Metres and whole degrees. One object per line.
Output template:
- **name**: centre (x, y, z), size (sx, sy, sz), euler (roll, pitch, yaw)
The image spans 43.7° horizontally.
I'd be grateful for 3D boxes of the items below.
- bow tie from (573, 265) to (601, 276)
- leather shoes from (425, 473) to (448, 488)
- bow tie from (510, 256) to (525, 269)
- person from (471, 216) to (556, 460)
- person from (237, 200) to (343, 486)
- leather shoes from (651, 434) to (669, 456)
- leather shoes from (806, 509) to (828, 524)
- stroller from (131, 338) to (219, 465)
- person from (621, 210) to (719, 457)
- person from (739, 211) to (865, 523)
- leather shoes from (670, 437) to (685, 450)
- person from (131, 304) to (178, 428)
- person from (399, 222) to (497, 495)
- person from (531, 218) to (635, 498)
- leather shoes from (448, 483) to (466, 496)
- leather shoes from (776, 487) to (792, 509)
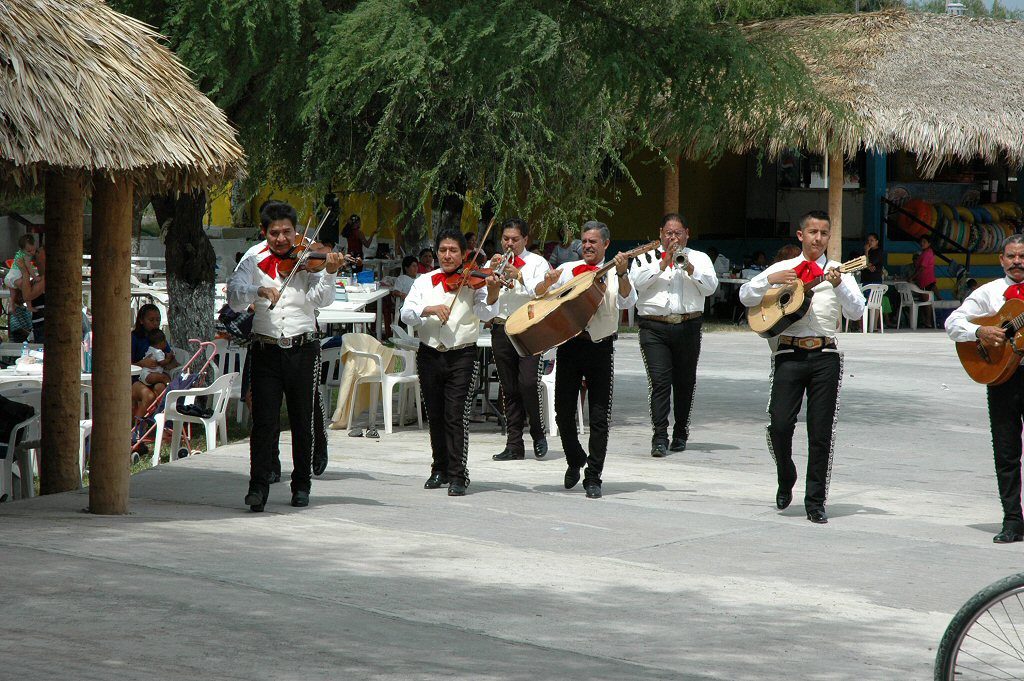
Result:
- **bow tie**: centre (0.623, -0.632, 11.465), size (0.137, 0.055, 0.134), euler (-13, 15, -43)
- **leather shoes**: centre (-0.673, 1.232, 11.164), size (0.195, 0.172, 0.095), euler (6, 5, -5)
- **bow tie**: centre (0.052, -0.754, 12.525), size (0.048, 0.129, 0.136), euler (5, -17, 45)
- **person**: centre (0.004, 0.030, 12.559), size (0.795, 2.106, 0.767), euler (1, -2, -1)
- **person**: centre (-1.664, 0.133, 10.035), size (1.135, 2.296, 0.961), euler (1, 4, 27)
- **leather shoes**: centre (1.474, 1.052, 12.767), size (0.148, 0.192, 0.174), euler (2, 7, 9)
- **leather shoes**: centre (2.435, 1.412, 10.239), size (0.085, 0.071, 0.176), euler (0, -9, -4)
- **stroller**: centre (-3.614, 0.669, 14.216), size (0.706, 1.483, 1.111), euler (8, -12, -31)
- **person**: centre (1.568, -0.054, 12.551), size (1.035, 2.282, 0.911), euler (0, -2, 2)
- **person**: centre (2.363, 0.195, 10.278), size (0.963, 2.375, 1.066), euler (0, 1, -2)
- **leather shoes**: centre (1.685, 1.058, 13.013), size (0.128, 0.111, 0.292), euler (-1, -1, 9)
- **person**: centre (-4.164, 0.224, 14.411), size (0.593, 1.579, 0.591), euler (2, -5, 16)
- **person**: centre (-0.601, 0.194, 11.084), size (0.924, 2.112, 0.934), euler (0, 1, -15)
- **person**: centre (0.660, 0.163, 11.187), size (0.944, 2.306, 0.941), euler (0, -2, 1)
- **leather shoes**: centre (-0.476, 1.271, 10.892), size (0.089, 0.087, 0.201), euler (0, -6, 1)
- **leather shoes**: centre (2.253, 1.311, 10.603), size (0.092, 0.192, 0.089), euler (9, 0, 28)
